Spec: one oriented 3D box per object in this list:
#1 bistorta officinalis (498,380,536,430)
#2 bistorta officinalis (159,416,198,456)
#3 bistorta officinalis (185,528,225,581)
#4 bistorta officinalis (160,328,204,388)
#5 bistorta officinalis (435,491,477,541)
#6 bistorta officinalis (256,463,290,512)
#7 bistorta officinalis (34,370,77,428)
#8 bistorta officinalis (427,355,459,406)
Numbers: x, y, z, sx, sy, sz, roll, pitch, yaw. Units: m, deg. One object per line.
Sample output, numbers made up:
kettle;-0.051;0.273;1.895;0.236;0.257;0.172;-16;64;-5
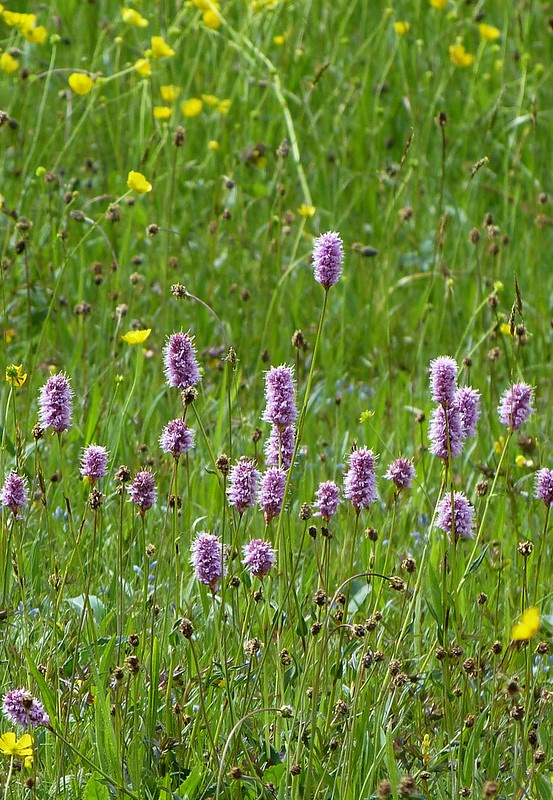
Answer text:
bistorta officinalis;0.539;0.010;3.055;0.052;0.105;0.115;-1;-6;-2
bistorta officinalis;-0.210;0.079;2.893;0.054;0.109;0.070;1;5;16
bistorta officinalis;-0.145;0.303;2.780;0.056;0.149;0.076;-1;-15;1
bistorta officinalis;-0.204;-0.085;2.895;0.076;0.213;0.098;-3;3;-8
bistorta officinalis;0.373;0.237;2.824;0.069;0.136;0.091;-2;9;-1
bistorta officinalis;-0.007;0.180;2.816;0.056;0.180;0.063;-1;-1;27
bistorta officinalis;-0.482;-0.002;3.014;0.072;0.224;0.099;-1;2;-7
bistorta officinalis;0.347;-0.050;2.854;0.062;0.176;0.080;-1;5;2
